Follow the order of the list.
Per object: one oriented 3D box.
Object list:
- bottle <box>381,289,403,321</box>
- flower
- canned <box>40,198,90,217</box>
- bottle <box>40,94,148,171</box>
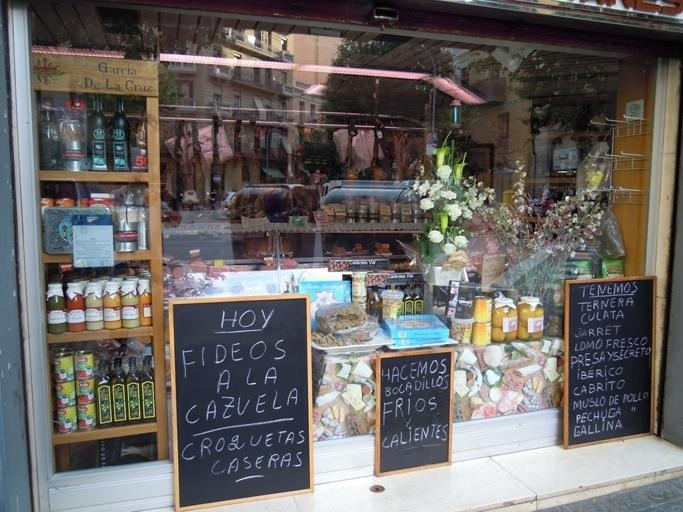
[{"bbox_3d":[0.360,0.347,4.462,0.178,0.194,0.185,2,3,4],"label":"bottle"},{"bbox_3d":[1.291,-0.203,5.067,1.380,1.012,1.206,0,4,8],"label":"flower"},{"bbox_3d":[-1.757,-0.330,3.843,0.151,0.113,0.154,0,-2,0],"label":"canned"},{"bbox_3d":[-1.583,-0.794,3.891,0.457,0.401,0.155,0,-4,-11],"label":"bottle"}]
